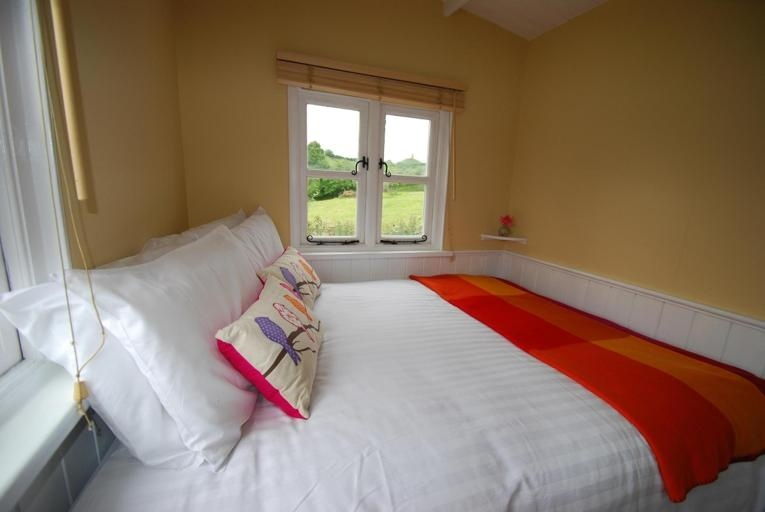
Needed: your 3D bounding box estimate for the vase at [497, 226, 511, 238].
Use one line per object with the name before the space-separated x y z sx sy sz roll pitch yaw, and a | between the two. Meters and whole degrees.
vase | 0.945 -0.184 3.568 0.098 0.147 0.080 -2 -3 25
